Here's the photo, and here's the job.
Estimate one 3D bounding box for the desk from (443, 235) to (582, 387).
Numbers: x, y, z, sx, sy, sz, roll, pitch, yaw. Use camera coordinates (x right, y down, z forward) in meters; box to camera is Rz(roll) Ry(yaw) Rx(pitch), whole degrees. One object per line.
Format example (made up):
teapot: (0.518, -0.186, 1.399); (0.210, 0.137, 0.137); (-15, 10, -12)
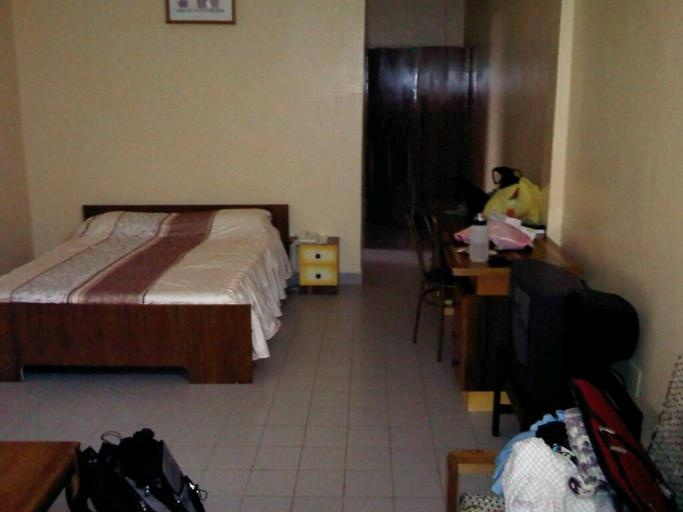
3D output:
desk: (1.016, 0.271, 3.438); (0.670, 0.835, 1.280); (2, 14, 4)

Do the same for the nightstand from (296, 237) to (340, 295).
nightstand: (-0.201, 0.088, 5.014); (0.412, 0.578, 0.417); (0, 6, 3)

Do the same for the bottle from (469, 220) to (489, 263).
bottle: (0.763, -0.094, 3.143); (0.108, 0.231, 0.133); (1, 22, 13)
